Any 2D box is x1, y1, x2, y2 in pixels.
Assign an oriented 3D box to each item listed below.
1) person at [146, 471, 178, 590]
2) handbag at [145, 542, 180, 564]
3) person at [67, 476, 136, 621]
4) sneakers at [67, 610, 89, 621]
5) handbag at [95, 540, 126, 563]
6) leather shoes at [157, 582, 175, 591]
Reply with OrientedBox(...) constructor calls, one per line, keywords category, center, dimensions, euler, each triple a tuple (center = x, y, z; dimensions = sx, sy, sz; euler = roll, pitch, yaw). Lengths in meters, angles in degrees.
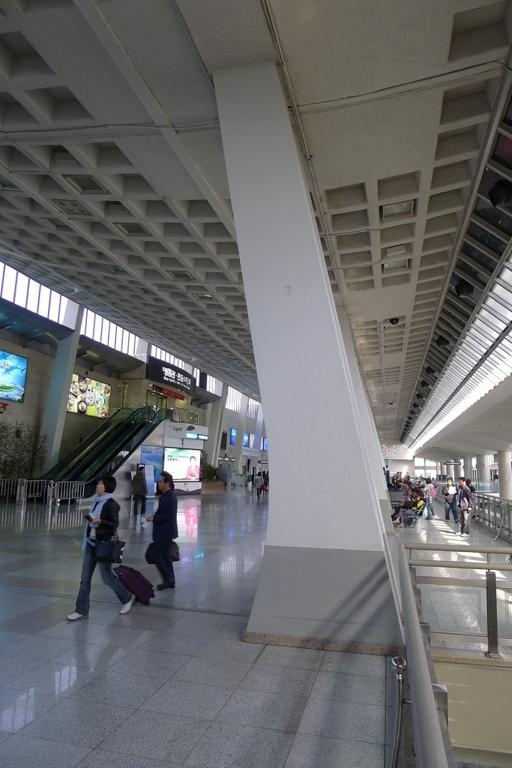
OrientedBox(category="person", center=(-1.295, 2.052, 6.028), dimensions=(0.435, 1.598, 0.504), euler=(5, -9, -8))
OrientedBox(category="handbag", center=(-1.315, 2.392, 5.992), dimensions=(0.457, 0.349, 0.378), euler=(7, -31, -2))
OrientedBox(category="person", center=(-1.704, 1.855, 4.913), dimensions=(0.656, 1.554, 0.573), euler=(6, -9, -13))
OrientedBox(category="sneakers", center=(-1.926, 2.505, 4.599), dimensions=(0.234, 0.080, 0.083), euler=(8, -25, -19))
OrientedBox(category="handbag", center=(-1.603, 1.864, 4.724), dimensions=(0.189, 0.257, 0.269), euler=(-5, -11, 43))
OrientedBox(category="leather shoes", center=(-1.245, 2.811, 5.912), dimensions=(0.209, 0.064, 0.101), euler=(4, -11, -1))
